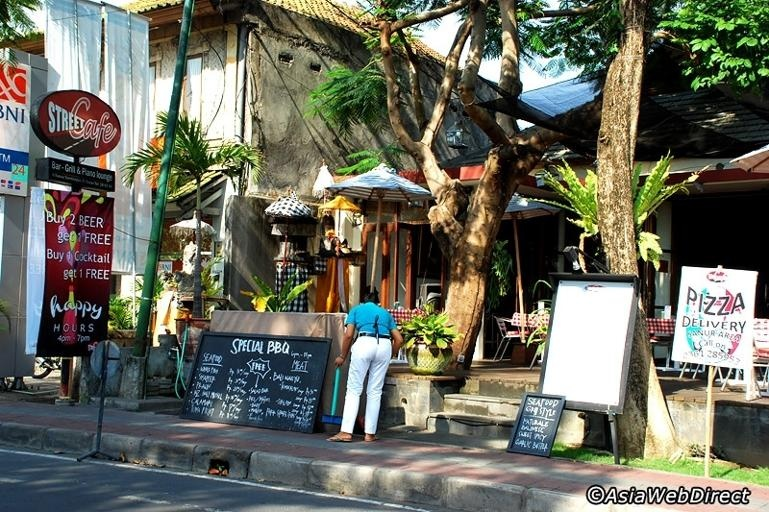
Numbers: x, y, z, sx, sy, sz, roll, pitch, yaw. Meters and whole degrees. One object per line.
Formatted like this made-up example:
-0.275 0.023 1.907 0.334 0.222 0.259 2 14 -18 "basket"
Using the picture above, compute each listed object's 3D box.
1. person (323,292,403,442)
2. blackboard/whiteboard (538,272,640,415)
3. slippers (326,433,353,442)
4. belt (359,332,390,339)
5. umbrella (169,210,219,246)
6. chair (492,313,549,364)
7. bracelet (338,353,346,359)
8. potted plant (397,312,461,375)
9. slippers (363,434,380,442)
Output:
-0.305 1.771 11.498 1.019 2.514 0.410 4 -5 -2 "person"
3.168 1.358 10.594 1.730 2.652 0.854 4 -24 26 "blackboard/whiteboard"
-0.726 2.925 11.279 0.315 0.145 0.161 4 -10 9 "slippers"
-0.167 1.285 11.469 0.504 0.093 0.134 5 -6 -4 "belt"
-5.248 -0.747 18.946 1.336 0.924 1.357 6 4 43 "umbrella"
3.197 1.923 16.419 1.217 1.470 1.019 -3 -21 17 "chair"
-0.696 1.645 11.558 0.108 0.113 0.068 25 -14 -29 "bracelet"
0.834 1.724 13.605 1.141 1.204 1.193 4 -8 -19 "potted plant"
-0.238 2.969 11.376 0.085 0.109 0.250 -3 -17 18 "slippers"
